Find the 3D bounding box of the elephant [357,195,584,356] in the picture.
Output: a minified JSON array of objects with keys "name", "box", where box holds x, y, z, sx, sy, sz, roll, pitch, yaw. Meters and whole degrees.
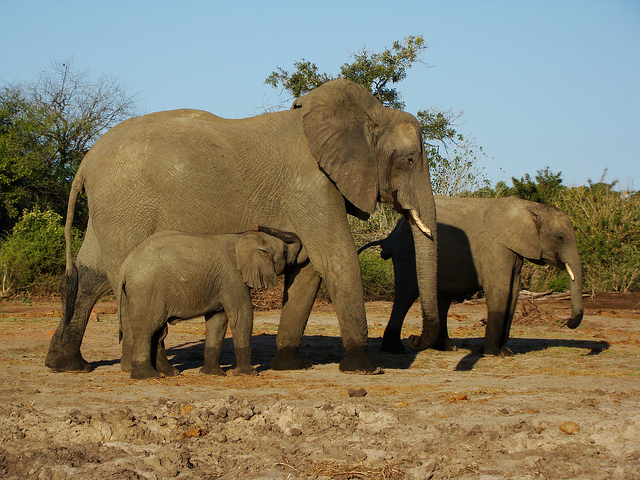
[{"name":"elephant","box":[2.555,0.600,13.343,3.843,3.000,1.596,2,14,9]}]
